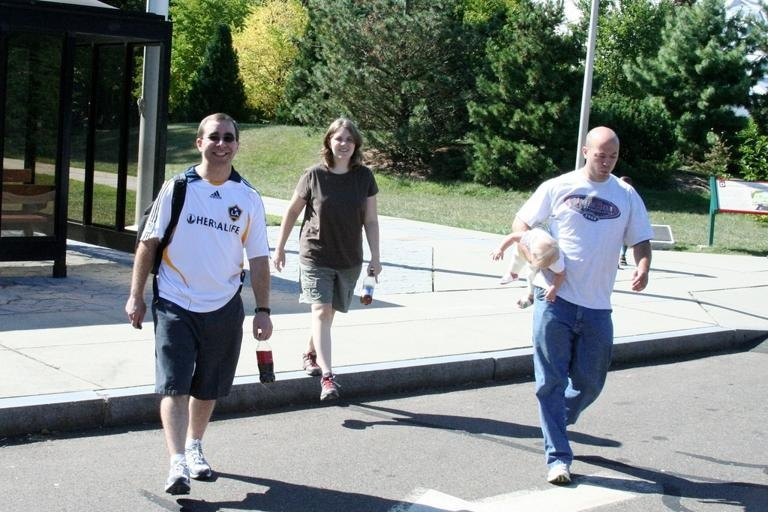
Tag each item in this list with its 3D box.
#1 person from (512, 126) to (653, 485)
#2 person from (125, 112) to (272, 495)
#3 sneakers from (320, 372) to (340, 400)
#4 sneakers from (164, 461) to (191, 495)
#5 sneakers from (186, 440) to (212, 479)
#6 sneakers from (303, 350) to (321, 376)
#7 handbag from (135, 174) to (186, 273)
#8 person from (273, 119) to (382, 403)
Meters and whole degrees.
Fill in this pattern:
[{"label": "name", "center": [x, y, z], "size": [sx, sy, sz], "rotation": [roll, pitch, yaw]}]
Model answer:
[{"label": "person", "center": [1.623, 0.363, 5.981], "size": [0.915, 2.750, 0.808], "rotation": [-3, 13, -27]}, {"label": "person", "center": [-1.331, 0.360, 5.345], "size": [1.009, 2.711, 0.779], "rotation": [-2, 13, -21]}, {"label": "sneakers", "center": [-0.510, 1.223, 6.837], "size": [0.129, 0.144, 0.321], "rotation": [-2, 0, -8]}, {"label": "sneakers", "center": [-1.454, 1.564, 5.175], "size": [0.154, 0.226, 0.094], "rotation": [0, 12, -14]}, {"label": "sneakers", "center": [-1.414, 1.552, 5.573], "size": [0.130, 0.157, 0.353], "rotation": [-1, 6, -29]}, {"label": "sneakers", "center": [-0.710, 1.056, 7.154], "size": [0.110, 0.129, 0.290], "rotation": [-1, 7, -23]}, {"label": "handbag", "center": [-1.543, -0.206, 5.284], "size": [0.254, 0.723, 0.140], "rotation": [-1, 12, -20]}, {"label": "person", "center": [-0.518, -0.043, 6.952], "size": [0.976, 2.421, 0.727], "rotation": [1, 12, -8]}]
